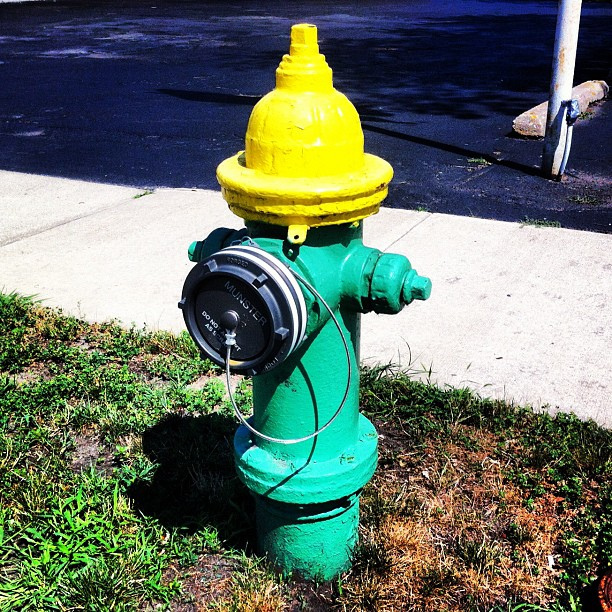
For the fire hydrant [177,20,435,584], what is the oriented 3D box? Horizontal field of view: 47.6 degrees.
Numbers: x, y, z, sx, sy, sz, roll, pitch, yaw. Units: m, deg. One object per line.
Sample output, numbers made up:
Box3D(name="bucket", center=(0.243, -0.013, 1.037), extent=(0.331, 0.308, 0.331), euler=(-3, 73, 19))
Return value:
Box3D(name="fire hydrant", center=(-0.001, 0.030, 2.628), extent=(0.857, 2.042, 1.263), euler=(-4, 27, -1))
